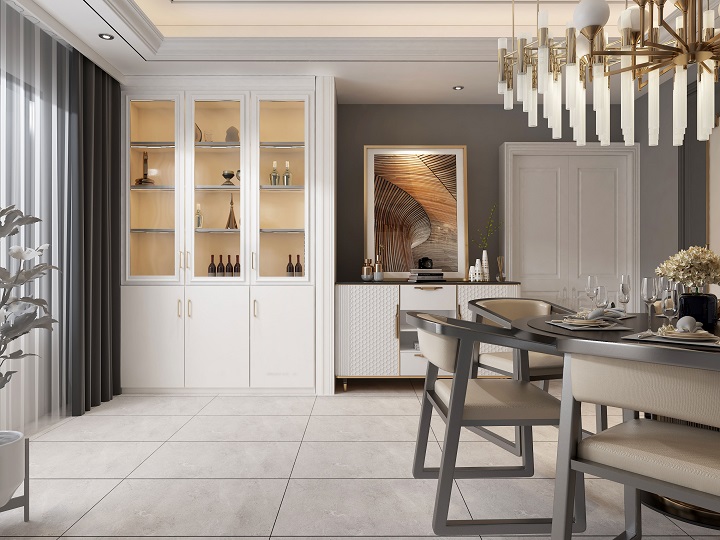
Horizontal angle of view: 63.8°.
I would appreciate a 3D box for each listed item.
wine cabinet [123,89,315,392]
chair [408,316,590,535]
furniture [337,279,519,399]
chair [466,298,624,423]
[{"bbox_3d":[-1.290,-0.282,5.229,1.750,2.696,0.519,0,11,1],"label":"wine cabinet"},{"bbox_3d":[0.693,0.783,3.590,1.083,1.323,1.238,-1,0,-3],"label":"chair"},{"bbox_3d":[0.492,0.511,4.498,1.071,0.591,0.274,-1,-4,-2],"label":"furniture"},{"bbox_3d":[1.300,0.644,4.234,0.880,0.980,0.776,1,-6,-22],"label":"chair"}]
